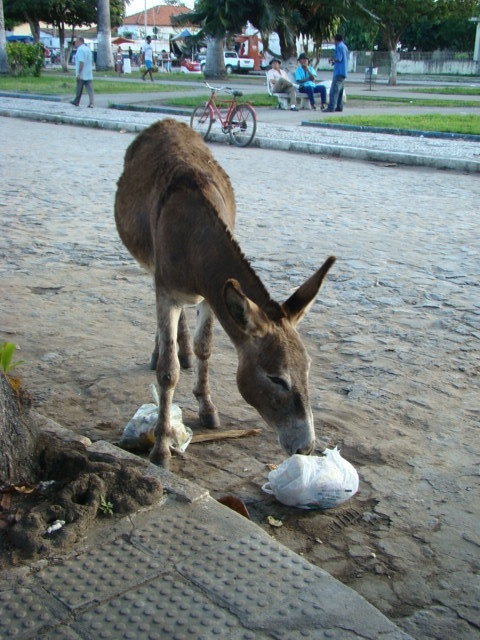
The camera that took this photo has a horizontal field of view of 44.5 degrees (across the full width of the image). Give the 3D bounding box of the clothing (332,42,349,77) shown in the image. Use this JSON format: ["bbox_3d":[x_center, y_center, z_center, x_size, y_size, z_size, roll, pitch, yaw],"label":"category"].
[{"bbox_3d":[3.611,-9.453,21.134,0.484,1.198,0.925,5,16,10],"label":"clothing"}]

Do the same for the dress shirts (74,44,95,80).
[{"bbox_3d":[-5.591,-9.316,20.998,0.584,1.292,1.894,-2,15,-15],"label":"dress shirts"}]

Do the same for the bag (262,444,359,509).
[{"bbox_3d":[0.370,0.818,3.155,0.427,0.220,0.581,4,4,44],"label":"bag"}]

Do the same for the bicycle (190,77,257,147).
[{"bbox_3d":[-0.499,-5.694,16.201,1.251,1.466,2.680,-15,29,-42],"label":"bicycle"}]

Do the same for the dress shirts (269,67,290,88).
[{"bbox_3d":[1.379,-9.290,22.292,0.681,0.386,1.038,-12,10,2],"label":"dress shirts"}]

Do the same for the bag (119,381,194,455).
[{"bbox_3d":[-0.527,0.626,3.769,0.456,0.278,0.691,9,11,-6],"label":"bag"}]

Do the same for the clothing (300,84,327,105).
[{"bbox_3d":[2.899,-9.489,24.383,1.038,0.865,1.282,-10,19,-16],"label":"clothing"}]
